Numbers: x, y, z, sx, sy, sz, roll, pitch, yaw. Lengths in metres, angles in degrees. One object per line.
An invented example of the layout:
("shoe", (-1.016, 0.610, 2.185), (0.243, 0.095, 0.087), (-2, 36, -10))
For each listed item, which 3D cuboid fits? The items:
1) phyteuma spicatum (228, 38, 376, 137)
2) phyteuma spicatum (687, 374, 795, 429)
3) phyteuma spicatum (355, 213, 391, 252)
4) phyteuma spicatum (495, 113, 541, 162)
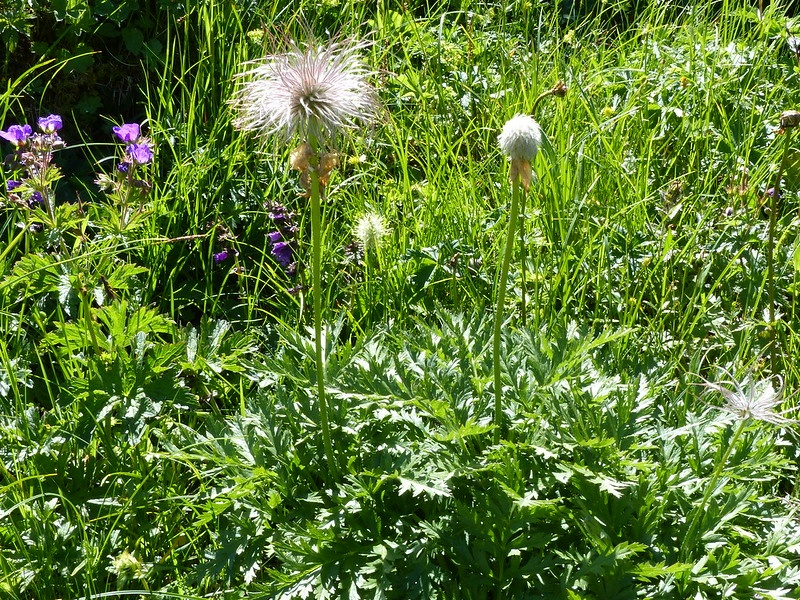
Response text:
("phyteuma spicatum", (-0.269, -0.742, 2.405), (0.345, 0.252, 0.355), (-28, 43, -27))
("phyteuma spicatum", (1.222, 0.363, 2.847), (0.194, 0.086, 0.229), (-7, 38, -5))
("phyteuma spicatum", (-0.115, -0.340, 3.579), (0.132, 0.175, 0.187), (-5, 64, 7))
("phyteuma spicatum", (0.376, -0.520, 2.492), (0.104, 0.149, 0.126), (1, 12, 5))
